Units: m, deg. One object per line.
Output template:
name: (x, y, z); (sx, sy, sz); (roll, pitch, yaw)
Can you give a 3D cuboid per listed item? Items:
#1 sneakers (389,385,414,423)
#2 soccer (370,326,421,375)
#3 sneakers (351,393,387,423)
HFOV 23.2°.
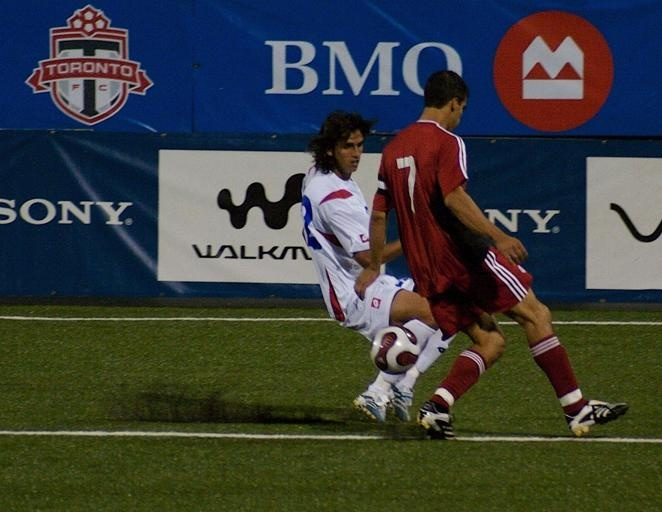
sneakers: (0.553, 1.161, 12.756); (0.132, 0.326, 0.162); (-6, -6, -10)
soccer: (0.523, 0.747, 12.662); (0.291, 0.290, 0.222); (47, -8, -35)
sneakers: (0.305, 1.208, 12.724); (0.264, 0.086, 0.137); (32, 21, 1)
